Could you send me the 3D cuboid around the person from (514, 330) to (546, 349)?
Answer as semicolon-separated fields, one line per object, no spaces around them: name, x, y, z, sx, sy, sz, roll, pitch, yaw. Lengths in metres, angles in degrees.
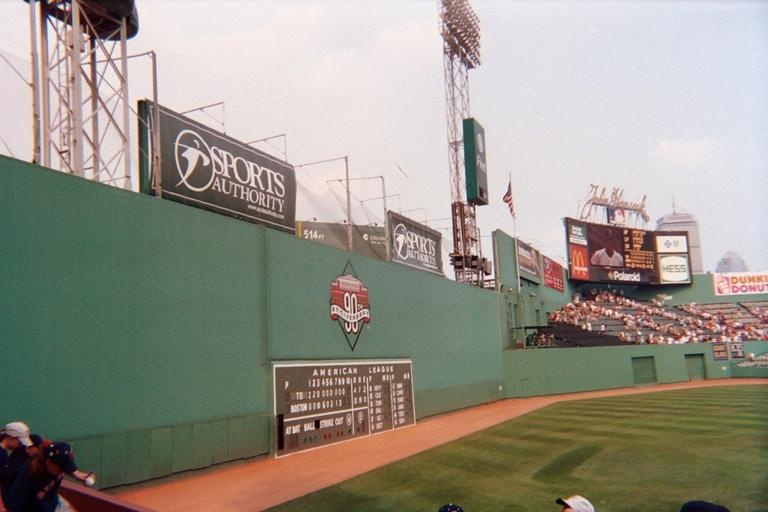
person;7.957;4.486;32.613;1.143;0.828;1.145;-1;-8;6
